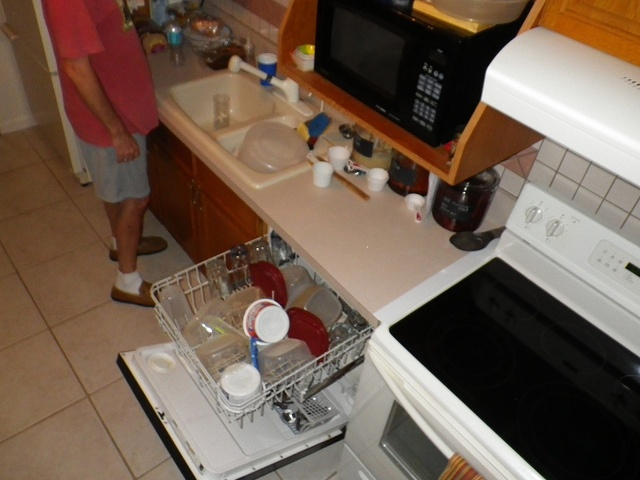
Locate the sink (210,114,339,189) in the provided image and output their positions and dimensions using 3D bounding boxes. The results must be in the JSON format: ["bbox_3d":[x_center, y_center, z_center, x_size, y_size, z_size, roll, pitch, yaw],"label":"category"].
[{"bbox_3d":[-0.239,-0.397,2.109,0.338,0.106,0.353,-23,58,-25],"label":"sink"}]

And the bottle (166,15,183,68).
[{"bbox_3d":[-0.749,-1.029,2.641,0.084,0.131,0.232,-11,52,-13],"label":"bottle"}]

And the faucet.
[{"bbox_3d":[-0.264,-0.776,2.432,0.060,0.117,0.361,-34,64,-26],"label":"faucet"}]

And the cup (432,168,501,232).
[{"bbox_3d":[0.522,-0.132,1.811,0.185,0.217,0.110,-2,49,-6],"label":"cup"}]

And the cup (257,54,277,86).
[{"bbox_3d":[-0.257,-0.838,2.488,0.117,0.129,0.128,2,53,-2],"label":"cup"}]

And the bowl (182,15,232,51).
[{"bbox_3d":[-0.603,-1.120,2.713,0.221,0.056,0.244,-14,62,-14],"label":"bowl"}]

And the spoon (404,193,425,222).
[{"bbox_3d":[0.363,-0.125,1.902,0.062,0.031,0.106,2,65,10],"label":"spoon"}]

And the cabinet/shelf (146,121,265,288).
[{"bbox_3d":[-0.510,-0.181,2.297,0.231,0.533,0.648,-24,60,-26],"label":"cabinet/shelf"}]
